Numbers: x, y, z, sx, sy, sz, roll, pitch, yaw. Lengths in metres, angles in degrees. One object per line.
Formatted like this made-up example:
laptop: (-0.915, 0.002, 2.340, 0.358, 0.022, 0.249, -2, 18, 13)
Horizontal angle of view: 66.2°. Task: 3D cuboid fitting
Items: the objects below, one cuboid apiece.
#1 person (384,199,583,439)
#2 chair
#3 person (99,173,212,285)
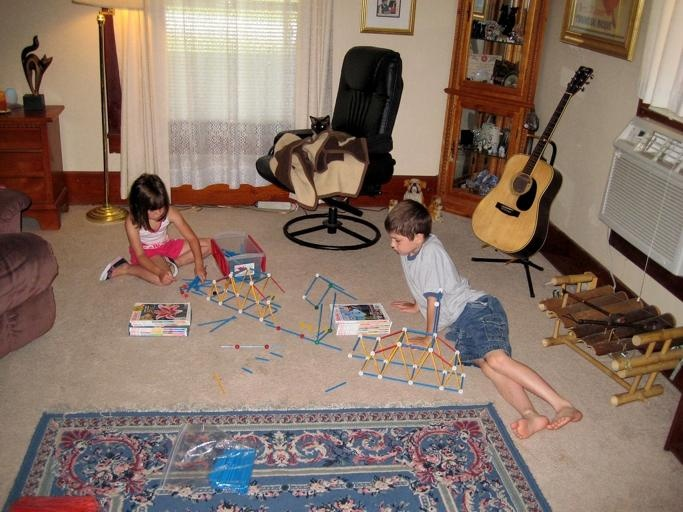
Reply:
person: (0.641, 0.352, 2.728, 0.448, 0.578, 1.374, -15, 58, -40)
chair: (-0.117, -0.828, 4.070, 0.977, 1.481, 1.028, -4, 21, -15)
person: (-1.213, -0.191, 3.381, 0.683, 0.724, 0.466, 1, 28, -6)
